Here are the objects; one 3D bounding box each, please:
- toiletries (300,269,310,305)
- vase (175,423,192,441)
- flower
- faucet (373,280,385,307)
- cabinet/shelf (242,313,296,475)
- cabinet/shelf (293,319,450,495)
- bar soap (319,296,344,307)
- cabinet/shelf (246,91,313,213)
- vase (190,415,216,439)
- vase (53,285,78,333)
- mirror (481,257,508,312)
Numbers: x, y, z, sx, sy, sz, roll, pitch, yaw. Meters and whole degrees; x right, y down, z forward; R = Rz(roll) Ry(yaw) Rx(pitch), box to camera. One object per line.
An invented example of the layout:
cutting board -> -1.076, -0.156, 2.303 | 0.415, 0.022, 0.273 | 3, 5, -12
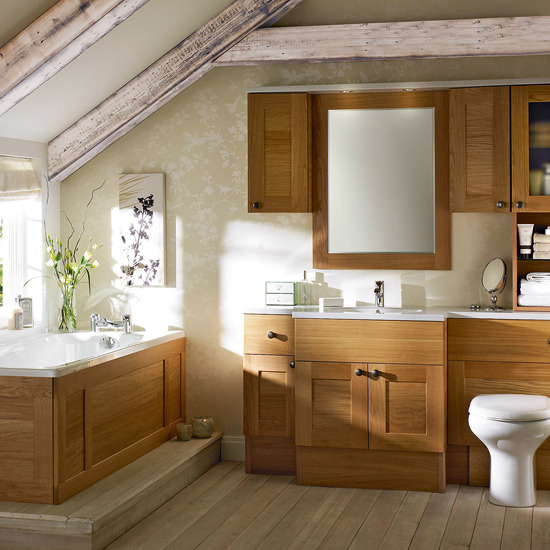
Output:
toiletries -> 0.195, 0.081, 3.438 | 0.056, 0.224, 0.086 | 0, -3, 3
vase -> -0.550, 0.977, 3.392 | 0.107, 0.089, 0.099 | 0, -3, -1
flower -> -1.356, -0.134, 3.653 | 0.439, 1.015, 0.367 | -1, -3, 18
faucet -> 0.625, 0.119, 3.264 | 0.054, 0.160, 0.145 | 0, -2, 10
cabinet/shelf -> -0.030, 0.712, 3.223 | 0.298, 0.959, 0.171 | 0, -3, -2
cabinet/shelf -> 0.552, 0.712, 2.958 | 1.041, 1.015, 0.626 | -1, -4, 11
bar soap -> 0.333, 0.171, 3.209 | 0.136, 0.055, 0.055 | 0, -2, -5
cabinet/shelf -> 0.021, -0.728, 3.258 | 0.352, 0.708, 0.083 | 0, -3, 10
vase -> -0.449, 0.968, 3.441 | 0.135, 0.101, 0.123 | 0, -7, -6
vase -> -1.362, 0.224, 3.609 | 0.112, 0.296, 0.227 | 1, -3, -21
mirror -> 1.270, 0.051, 3.175 | 0.134, 0.305, 0.261 | -1, -3, 22
